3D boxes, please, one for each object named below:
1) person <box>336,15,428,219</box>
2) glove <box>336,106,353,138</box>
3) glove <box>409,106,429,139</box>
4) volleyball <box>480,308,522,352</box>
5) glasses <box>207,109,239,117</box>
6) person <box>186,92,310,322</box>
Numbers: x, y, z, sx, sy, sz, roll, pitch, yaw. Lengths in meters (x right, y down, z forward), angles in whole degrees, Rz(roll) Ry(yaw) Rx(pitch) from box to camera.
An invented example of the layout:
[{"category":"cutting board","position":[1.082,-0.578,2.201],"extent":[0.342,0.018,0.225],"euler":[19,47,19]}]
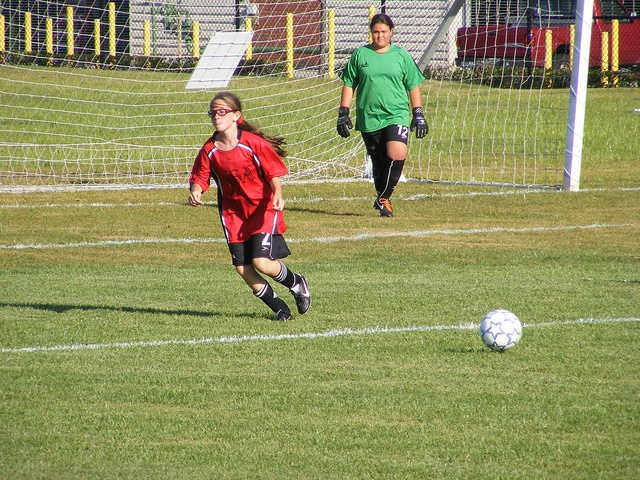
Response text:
[{"category":"person","position":[0.920,-1.798,19.867],"extent":[1.201,2.861,0.925],"euler":[2,9,11]},{"category":"glove","position":[0.352,-1.676,19.818],"extent":[0.216,0.440,0.164],"euler":[2,-11,1]},{"category":"glove","position":[1.422,-1.688,19.883],"extent":[0.242,0.432,0.151],"euler":[-8,15,6]},{"category":"volleyball","position":[1.985,0.997,15.280],"extent":[0.378,0.442,0.408],"euler":[2,-6,-2]},{"category":"glasses","position":[-1.125,-1.463,15.915],"extent":[0.345,0.093,0.170],"euler":[0,6,5]},{"category":"person","position":[-0.834,-0.386,16.192],"extent":[0.848,2.638,1.255],"euler":[3,4,37]}]
